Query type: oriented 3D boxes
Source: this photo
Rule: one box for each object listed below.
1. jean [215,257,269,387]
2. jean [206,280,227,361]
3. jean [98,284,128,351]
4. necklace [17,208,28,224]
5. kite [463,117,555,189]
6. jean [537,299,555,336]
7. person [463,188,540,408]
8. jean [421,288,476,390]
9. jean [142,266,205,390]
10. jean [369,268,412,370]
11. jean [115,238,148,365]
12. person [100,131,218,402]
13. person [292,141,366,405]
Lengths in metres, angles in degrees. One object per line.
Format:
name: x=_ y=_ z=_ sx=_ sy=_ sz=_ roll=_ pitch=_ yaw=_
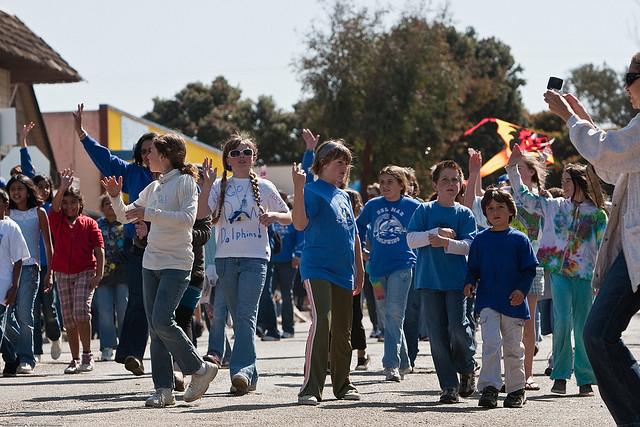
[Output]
jean: x=-1.019 y=1.271 z=12.804 sx=0.504 sy=1.637 sz=0.496 roll=-1 pitch=-2 yaw=33
jean: x=-1.503 y=1.540 z=14.397 sx=0.355 sy=1.049 sz=0.369 roll=-12 pitch=-24 yaw=28
jean: x=-3.224 y=1.488 z=15.929 sx=0.436 sy=0.362 sz=1.526 roll=1 pitch=-57 yaw=-4
necklace: x=-4.336 y=0.053 z=14.741 sx=0.159 sy=0.224 sz=0.045 roll=-4 pitch=-11 yaw=20
kite: x=3.958 y=-1.229 z=20.443 sx=2.265 sy=1.376 sz=0.439 roll=14 pitch=-20 yaw=-9
jean: x=3.614 y=1.630 z=16.183 sx=0.200 sy=0.543 sz=0.522 roll=-2 pitch=-11 yaw=9
person: x=2.232 y=1.017 z=12.493 sx=0.883 sy=2.659 sz=0.409 roll=-2 pitch=-10 yaw=12
jean: x=1.615 y=1.549 z=12.660 sx=0.675 sy=1.245 sz=0.340 roll=0 pitch=-10 yaw=1
jean: x=-1.798 y=1.352 z=12.181 sx=0.712 sy=1.440 sz=0.484 roll=1 pitch=-10 yaw=-3
jean: x=1.015 y=1.356 z=13.970 sx=0.488 sy=1.650 sz=0.544 roll=6 pitch=-12 yaw=-36
jean: x=-2.498 y=1.164 z=13.557 sx=0.416 sy=1.595 sz=0.672 roll=2 pitch=-11 yaw=-12
person: x=-1.871 y=0.582 z=12.245 sx=1.312 sy=3.273 sz=0.902 roll=4 pitch=-11 yaw=-21
person: x=0.091 y=0.684 z=12.536 sx=0.675 sy=3.258 sz=1.285 roll=-3 pitch=-11 yaw=17
